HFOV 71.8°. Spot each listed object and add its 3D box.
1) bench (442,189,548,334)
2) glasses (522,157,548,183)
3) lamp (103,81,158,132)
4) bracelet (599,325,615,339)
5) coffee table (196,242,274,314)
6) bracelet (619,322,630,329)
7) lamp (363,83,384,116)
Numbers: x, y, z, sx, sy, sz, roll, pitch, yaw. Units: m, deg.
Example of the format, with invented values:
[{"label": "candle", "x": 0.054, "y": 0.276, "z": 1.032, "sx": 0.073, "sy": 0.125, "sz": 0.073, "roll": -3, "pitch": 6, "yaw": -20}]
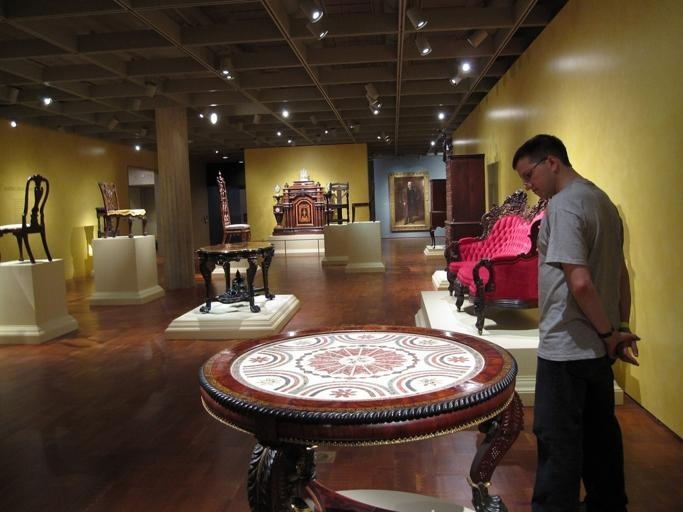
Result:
[{"label": "bench", "x": 1.812, "y": 0.063, "z": 5.625, "sx": 0.941, "sy": 1.595, "sz": 1.981, "roll": -1, "pitch": 6, "yaw": 2}, {"label": "glasses", "x": 1.084, "y": -0.495, "z": 2.677, "sx": 0.127, "sy": 0.040, "sz": 0.127, "roll": -26, "pitch": -5, "yaw": -7}, {"label": "lamp", "x": -4.054, "y": -3.092, "z": 9.408, "sx": 0.908, "sy": 0.862, "sz": 0.233, "roll": 18, "pitch": 21, "yaw": 10}, {"label": "bracelet", "x": 1.361, "y": 0.386, "z": 2.417, "sx": 0.069, "sy": 0.027, "sz": 0.055, "roll": -7, "pitch": -1, "yaw": -16}, {"label": "coffee table", "x": -1.595, "y": 0.347, "z": 7.176, "sx": 1.034, "sy": 0.912, "sz": 1.163, "roll": -2, "pitch": -1, "yaw": 22}, {"label": "bracelet", "x": 1.552, "y": 0.385, "z": 2.576, "sx": 0.039, "sy": 0.028, "sz": 0.057, "roll": 3, "pitch": 16, "yaw": 22}, {"label": "lamp", "x": 0.672, "y": -3.309, "z": 9.868, "sx": 0.163, "sy": 0.449, "sz": 0.490, "roll": -20, "pitch": -7, "yaw": -6}]
